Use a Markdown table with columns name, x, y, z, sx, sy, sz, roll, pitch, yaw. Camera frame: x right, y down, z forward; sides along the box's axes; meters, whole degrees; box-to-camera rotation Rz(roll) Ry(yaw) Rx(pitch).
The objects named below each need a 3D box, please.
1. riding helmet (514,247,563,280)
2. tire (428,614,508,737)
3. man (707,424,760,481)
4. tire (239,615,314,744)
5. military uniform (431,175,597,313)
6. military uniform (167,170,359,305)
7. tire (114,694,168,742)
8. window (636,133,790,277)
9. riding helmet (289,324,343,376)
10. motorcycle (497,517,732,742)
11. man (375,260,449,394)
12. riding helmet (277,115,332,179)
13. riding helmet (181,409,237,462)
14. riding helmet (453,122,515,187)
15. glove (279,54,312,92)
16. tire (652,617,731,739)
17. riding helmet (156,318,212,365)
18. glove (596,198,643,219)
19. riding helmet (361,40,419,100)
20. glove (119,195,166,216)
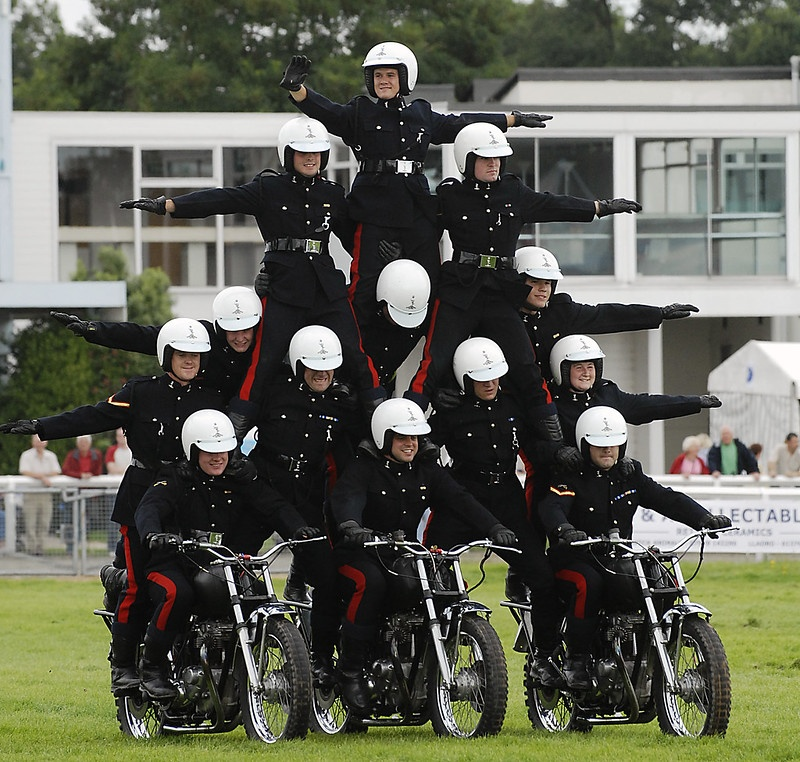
| name | x | y | z | sx | sy | sz | roll | pitch | yaw |
| --- | --- | --- | --- | --- | --- | --- | --- | --- | --- |
| riding helmet | 1.447 | -1.286 | 27.611 | 0.321 | 0.226 | 0.448 | 7 | 9 | -36 |
| tire | 0.633 | 2.990 | 25.871 | 0.398 | 1.188 | 1.227 | 1 | -15 | -39 |
| man | 4.879 | 1.086 | 37.901 | 0.569 | 1.345 | 0.434 | -4 | -15 | -13 |
| tire | -1.289 | 3.031 | 25.838 | 0.359 | 1.257 | 1.184 | -5 | -2 | -34 |
| military uniform | 1.277 | -1.641 | 30.501 | 2.862 | 1.708 | 0.691 | 3 | -10 | -16 |
| military uniform | -1.910 | -1.921 | 34.138 | 3.212 | 1.667 | 0.663 | 4 | -10 | -27 |
| tire | -2.691 | 3.532 | 26.755 | 0.449 | 0.459 | 0.087 | 9 | 10 | 35 |
| window | 5.384 | -3.090 | 45.607 | 2.701 | 2.564 | 0.201 | 0 | -1 | -10 |
| riding helmet | -0.889 | -0.266 | 26.976 | 0.553 | 0.578 | 0.764 | 2 | 23 | -9 |
| motorcycle | 2.382 | 2.682 | 26.940 | 1.518 | 2.295 | 3.645 | 4 | -6 | -32 |
| man | 0.107 | -0.634 | 27.433 | 1.089 | 1.381 | 0.659 | -9 | 27 | -23 |
| riding helmet | -1.041 | -2.518 | 27.169 | 0.474 | 0.494 | 0.599 | -2 | 40 | -12 |
| riding helmet | -1.973 | 0.568 | 26.365 | 0.401 | 0.435 | 0.563 | -3 | 31 | -15 |
| riding helmet | 0.846 | -2.490 | 27.585 | 0.544 | 0.598 | 0.728 | -10 | 26 | -29 |
| glove | -1.129 | -3.301 | 27.225 | 0.277 | 0.421 | 0.543 | 1 | -3 | -5 |
| tire | 2.942 | 2.992 | 25.945 | 0.510 | 1.232 | 0.846 | 2 | -3 | -31 |
| riding helmet | -2.276 | -0.434 | 26.989 | 0.422 | 0.518 | 0.534 | 1 | 10 | -22 |
| glove | 2.302 | -1.838 | 27.618 | 0.434 | 0.190 | 0.260 | -12 | -2 | 20 |
| riding helmet | -0.135 | -3.380 | 27.603 | 0.547 | 0.606 | 0.547 | 1 | -2 | -1 |
| glove | -2.634 | -1.838 | 26.690 | 0.369 | 0.182 | 0.565 | 2 | -3 | -19 |
